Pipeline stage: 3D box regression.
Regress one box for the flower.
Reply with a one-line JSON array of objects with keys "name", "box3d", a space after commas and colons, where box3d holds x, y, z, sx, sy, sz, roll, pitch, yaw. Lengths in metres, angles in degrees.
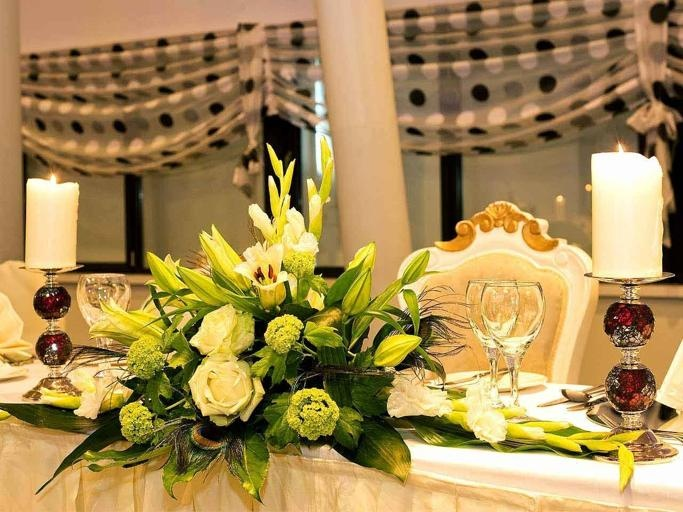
[{"name": "flower", "box3d": [-0.038, 0.199, 1.190, 0.665, 0.360, 0.691, 7, -12, -9]}]
